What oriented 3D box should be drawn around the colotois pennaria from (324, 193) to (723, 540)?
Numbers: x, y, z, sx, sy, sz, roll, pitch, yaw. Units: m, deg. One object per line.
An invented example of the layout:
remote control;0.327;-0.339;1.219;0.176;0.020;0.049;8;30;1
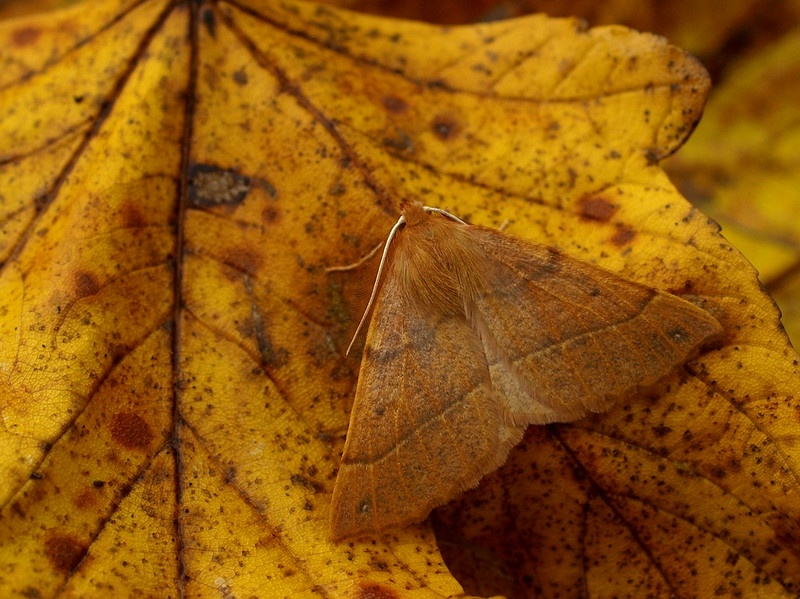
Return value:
colotois pennaria;0.426;0.278;4.374;1.639;0.987;0.859;-8;37;-8
